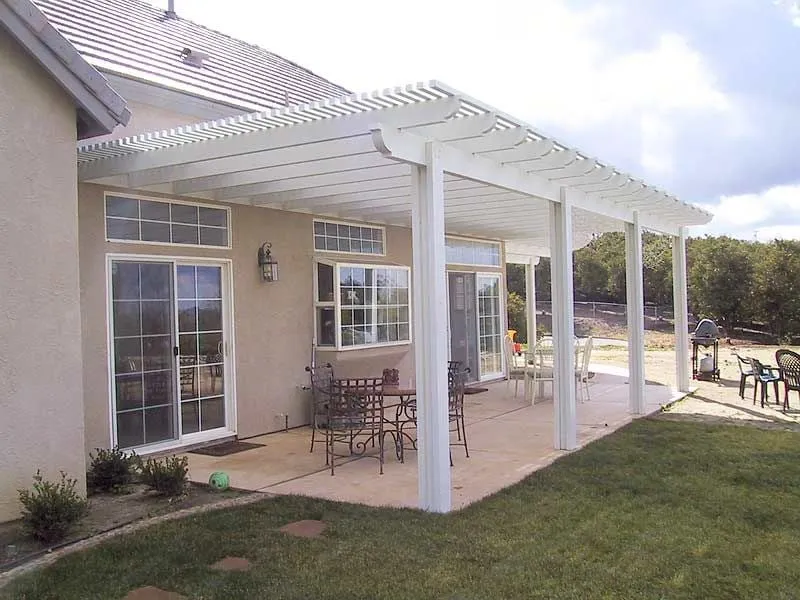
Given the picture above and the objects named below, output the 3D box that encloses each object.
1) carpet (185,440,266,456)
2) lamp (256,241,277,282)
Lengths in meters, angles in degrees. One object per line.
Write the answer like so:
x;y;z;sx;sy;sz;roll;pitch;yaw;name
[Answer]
-2.218;1.901;8.646;0.589;0.048;0.879;3;5;40;carpet
-1.829;-0.536;9.450;0.146;0.555;0.340;2;5;32;lamp
